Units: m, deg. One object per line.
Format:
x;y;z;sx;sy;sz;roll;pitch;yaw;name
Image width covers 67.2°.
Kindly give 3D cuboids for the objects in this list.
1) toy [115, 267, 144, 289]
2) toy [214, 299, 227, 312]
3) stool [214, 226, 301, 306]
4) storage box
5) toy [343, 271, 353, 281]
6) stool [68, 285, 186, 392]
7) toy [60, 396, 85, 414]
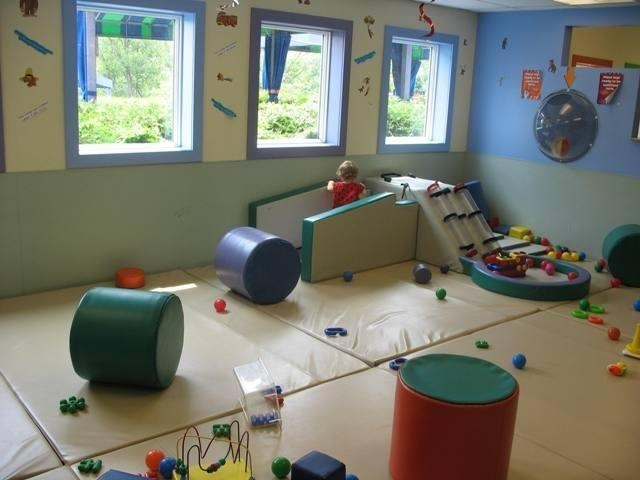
-1.965;0.390;4.986;0.211;0.137;0.225;-1;18;-16;toy
-0.945;0.631;4.610;0.090;0.110;0.105;3;-16;7;toy
-0.665;0.278;4.802;0.845;0.669;0.454;7;17;22;stool
-0.395;1.018;3.250;0.234;0.485;0.327;-13;-8;-5;storage box
0.330;0.412;5.461;0.087;0.098;0.092;-5;9;1;toy
-1.399;0.718;3.503;0.657;0.754;0.678;4;4;0;stool
-1.580;1.061;3.117;0.099;0.031;0.105;5;6;-2;toy
